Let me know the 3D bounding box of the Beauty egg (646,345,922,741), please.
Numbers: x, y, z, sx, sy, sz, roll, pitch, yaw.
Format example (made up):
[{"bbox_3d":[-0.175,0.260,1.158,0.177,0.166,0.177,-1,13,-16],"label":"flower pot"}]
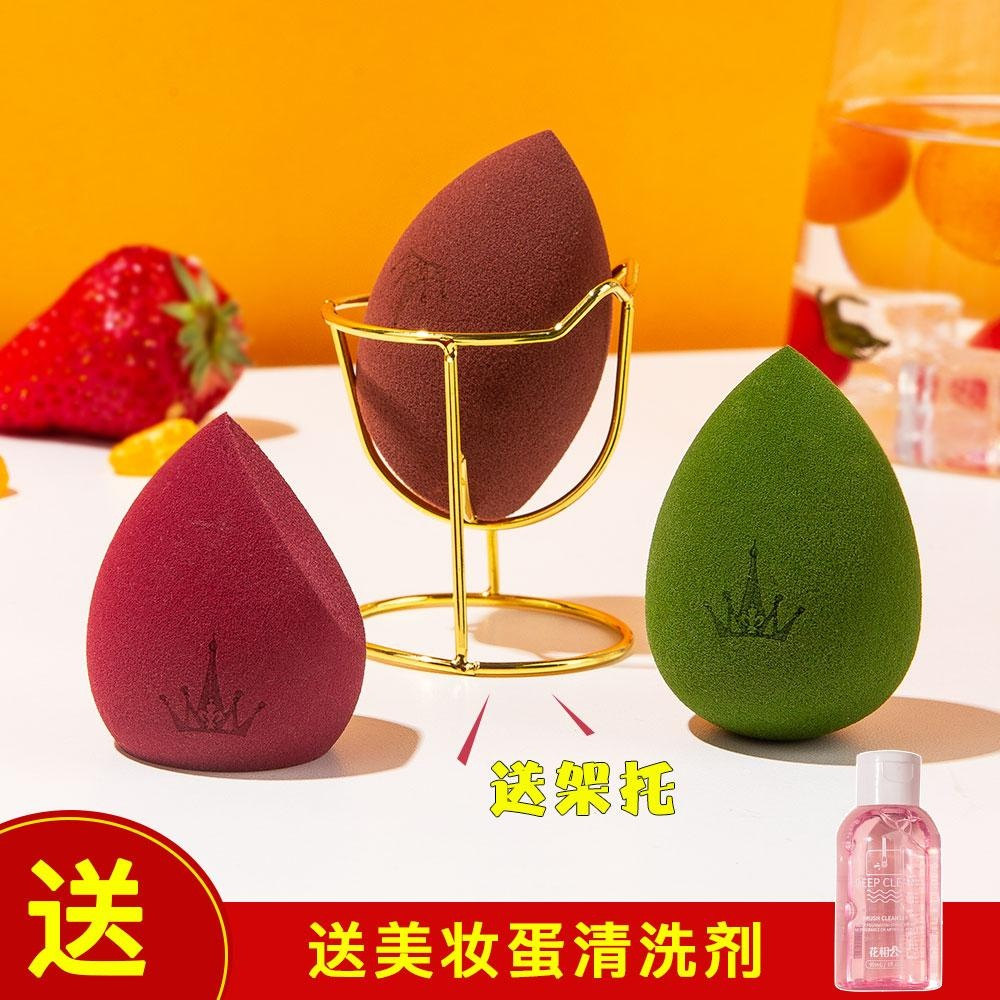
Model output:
[{"bbox_3d":[0.129,0.020,0.499,0.126,0.183,0.125,-8,12,-32],"label":"Beauty egg"}]

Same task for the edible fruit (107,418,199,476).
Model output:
[{"bbox_3d":[-0.300,-0.046,0.928,0.066,0.027,0.056,-15,37,3],"label":"edible fruit"}]

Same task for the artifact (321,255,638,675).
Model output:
[{"bbox_3d":[-0.015,-0.020,0.634,0.165,0.208,0.173,-9,11,-38],"label":"artifact"}]

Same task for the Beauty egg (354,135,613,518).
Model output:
[{"bbox_3d":[-0.006,-0.085,0.610,0.152,0.193,0.114,-10,38,-9],"label":"Beauty egg"}]

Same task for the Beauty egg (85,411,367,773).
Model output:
[{"bbox_3d":[-0.114,0.038,0.457,0.110,0.139,0.076,1,8,-11],"label":"Beauty egg"}]
